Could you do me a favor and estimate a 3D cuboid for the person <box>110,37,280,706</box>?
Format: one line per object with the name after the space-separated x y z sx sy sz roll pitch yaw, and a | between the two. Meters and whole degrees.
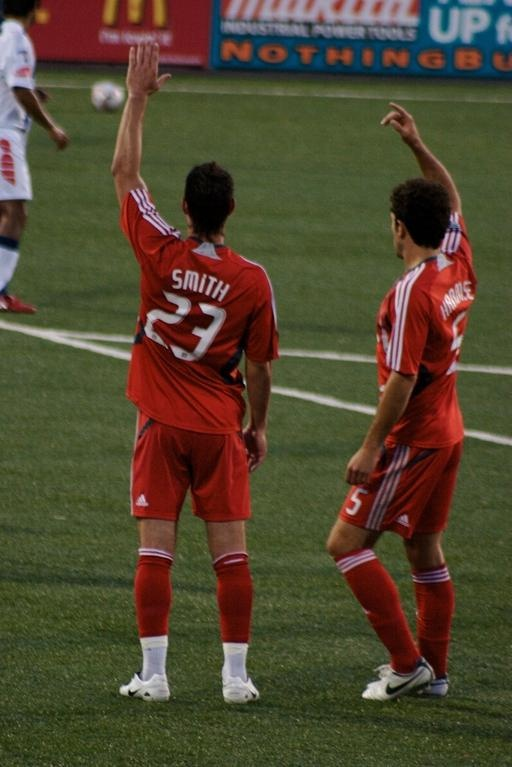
-0.223 -0.079 4.260 0.604 2.131 0.992 3 15 -7 | person

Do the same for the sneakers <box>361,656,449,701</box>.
0.510 1.024 4.329 0.369 0.138 0.118 -3 3 -4 | sneakers

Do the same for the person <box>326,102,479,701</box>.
0.552 0.150 4.434 0.489 1.750 0.926 6 15 5 | person

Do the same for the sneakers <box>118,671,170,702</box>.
-0.369 1.011 4.110 0.167 0.067 0.074 1 -7 29 | sneakers

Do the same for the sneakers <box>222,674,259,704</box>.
-0.061 1.017 4.134 0.063 0.062 0.147 0 0 9 | sneakers
